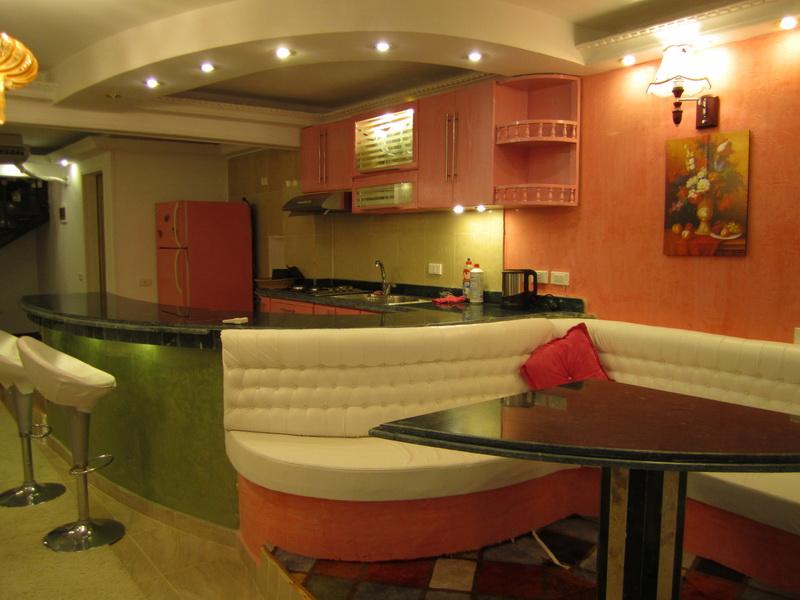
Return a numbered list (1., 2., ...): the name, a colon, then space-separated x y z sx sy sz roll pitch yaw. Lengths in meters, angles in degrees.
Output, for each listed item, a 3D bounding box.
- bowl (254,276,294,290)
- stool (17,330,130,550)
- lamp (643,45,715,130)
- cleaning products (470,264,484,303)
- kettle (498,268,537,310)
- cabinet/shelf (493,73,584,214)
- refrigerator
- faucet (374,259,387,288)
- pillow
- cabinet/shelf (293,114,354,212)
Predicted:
1. bowl: -1.290 -0.160 6.426 0.360 0.108 0.284 -2 6 -9
2. stool: -1.901 0.784 3.605 0.573 1.165 0.383 4 8 39
3. lamp: 1.690 -1.280 3.817 0.340 0.479 0.377 3 8 34
4. cleaning products: 0.617 -0.117 5.090 0.123 0.287 0.218 -1 6 6
5. kettle: 0.890 -0.082 4.657 0.261 0.281 0.195 0 6 8
6. cabinet/shelf: 1.000 -1.127 4.562 0.396 0.841 0.607 -12 16 -42
7. refrigerator: -2.294 -0.622 7.369 0.819 1.384 0.703 -8 41 -26
8. faucet: -0.183 -0.233 6.028 0.119 0.282 0.376 -1 6 -2
9. pillow: 0.972 0.359 3.715 0.395 0.382 0.116 -19 -16 -25
10. cabinet/shelf: -0.642 -1.361 6.151 0.825 0.632 0.302 3 3 37
